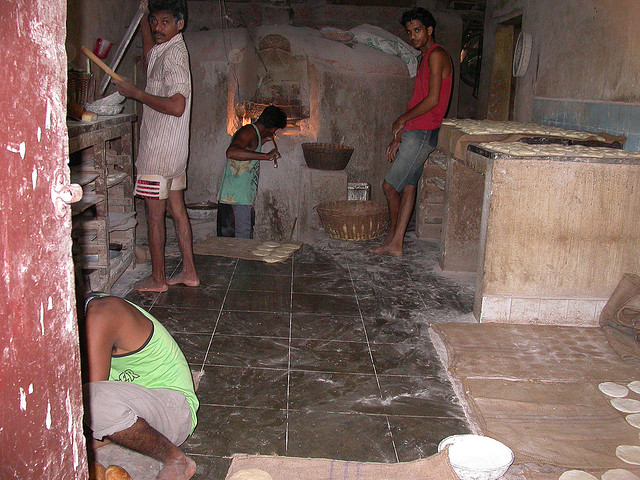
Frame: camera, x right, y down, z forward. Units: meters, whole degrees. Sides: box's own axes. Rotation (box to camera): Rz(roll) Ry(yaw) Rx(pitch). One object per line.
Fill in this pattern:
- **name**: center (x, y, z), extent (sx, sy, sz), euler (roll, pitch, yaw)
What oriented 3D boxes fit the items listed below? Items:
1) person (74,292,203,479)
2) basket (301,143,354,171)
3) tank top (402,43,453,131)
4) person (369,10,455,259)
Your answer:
- **person**: center (-0.768, 0.602, 2.288), extent (0.467, 0.911, 0.460), euler (-2, 11, -19)
- **basket**: center (0.067, -1.033, 6.524), extent (0.549, 0.186, 0.473), euler (3, 16, 5)
- **tank top**: center (1.006, -1.422, 4.945), extent (0.422, 0.774, 0.503), euler (3, 10, 10)
- **person**: center (0.879, -0.944, 5.037), extent (0.622, 2.303, 0.448), euler (10, 14, 38)
